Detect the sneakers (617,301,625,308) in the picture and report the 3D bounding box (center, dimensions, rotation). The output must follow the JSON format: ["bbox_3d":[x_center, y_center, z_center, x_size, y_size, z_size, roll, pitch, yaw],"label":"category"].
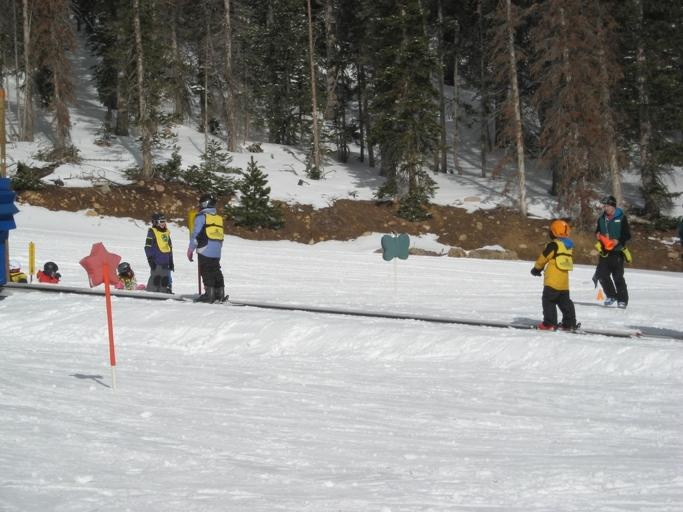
[{"bbox_3d":[10.928,1.915,55.336,0.292,0.196,0.230,4,14,2],"label":"sneakers"}]

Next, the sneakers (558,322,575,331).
[{"bbox_3d":[8.300,2.594,52.563,0.269,0.278,0.608,-7,13,-39],"label":"sneakers"}]

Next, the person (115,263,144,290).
[{"bbox_3d":[-8.359,0.845,56.064,0.750,0.769,1.196,-18,-1,-12],"label":"person"}]

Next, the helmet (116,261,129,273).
[{"bbox_3d":[-8.545,0.487,55.816,0.464,0.349,0.331,-6,1,-4],"label":"helmet"}]

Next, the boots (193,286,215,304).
[{"bbox_3d":[-5.107,1.449,53.668,0.732,0.549,0.386,2,14,-5],"label":"boots"}]

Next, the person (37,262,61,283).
[{"bbox_3d":[-11.432,0.657,55.985,0.667,0.897,0.927,13,17,33],"label":"person"}]

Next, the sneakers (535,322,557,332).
[{"bbox_3d":[7.582,2.637,52.542,0.667,0.292,0.297,-1,-1,3],"label":"sneakers"}]
